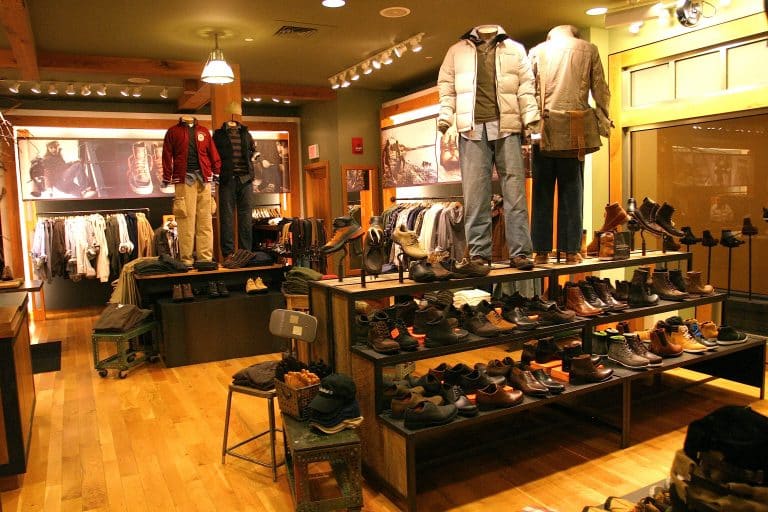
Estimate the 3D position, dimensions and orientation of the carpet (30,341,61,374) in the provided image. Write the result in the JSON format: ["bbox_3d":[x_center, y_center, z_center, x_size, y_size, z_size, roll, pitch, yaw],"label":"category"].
[{"bbox_3d":[-4.280,1.256,6.869,0.337,0.080,1.529,-8,7,-31],"label":"carpet"}]

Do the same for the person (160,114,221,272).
[{"bbox_3d":[-2.554,-0.871,7.279,0.513,1.916,0.648,-2,7,23],"label":"person"}]

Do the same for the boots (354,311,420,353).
[{"bbox_3d":[0.004,0.562,4.033,0.252,0.152,0.395,-5,9,-36],"label":"boots"}]

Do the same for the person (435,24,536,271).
[{"bbox_3d":[0.950,-0.995,4.819,0.840,2.044,0.449,-3,7,13],"label":"person"}]

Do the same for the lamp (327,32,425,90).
[{"bbox_3d":[-0.131,-2.945,8.095,0.244,0.203,1.978,41,-26,-30],"label":"lamp"}]

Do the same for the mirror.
[{"bbox_3d":[-0.369,-0.958,9.882,0.681,1.843,0.152,-3,-36,-10],"label":"mirror"}]

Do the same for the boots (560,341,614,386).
[{"bbox_3d":[1.616,0.883,4.373,0.568,0.338,0.193,-3,2,-20],"label":"boots"}]

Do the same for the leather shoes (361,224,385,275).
[{"bbox_3d":[-0.084,-0.048,4.305,0.156,0.405,0.171,0,-1,-4],"label":"leather shoes"}]

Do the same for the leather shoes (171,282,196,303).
[{"bbox_3d":[-2.440,0.441,6.551,0.258,0.159,0.444,-1,1,-25],"label":"leather shoes"}]

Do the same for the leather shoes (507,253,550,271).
[{"bbox_3d":[1.239,0.051,4.795,0.150,0.157,0.396,4,-9,-44],"label":"leather shoes"}]

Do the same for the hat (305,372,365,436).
[{"bbox_3d":[-0.315,1.010,3.744,0.282,0.234,0.430,4,9,20],"label":"hat"}]

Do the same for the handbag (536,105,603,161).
[{"bbox_3d":[1.725,-1.164,5.078,0.666,0.435,0.355,-6,14,-21],"label":"handbag"}]

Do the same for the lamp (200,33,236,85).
[{"bbox_3d":[-2.121,-2.476,6.817,0.337,0.691,1.146,-7,7,-15],"label":"lamp"}]

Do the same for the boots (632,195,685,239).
[{"bbox_3d":[2.721,-0.384,5.412,0.466,0.389,0.280,-2,7,16],"label":"boots"}]
